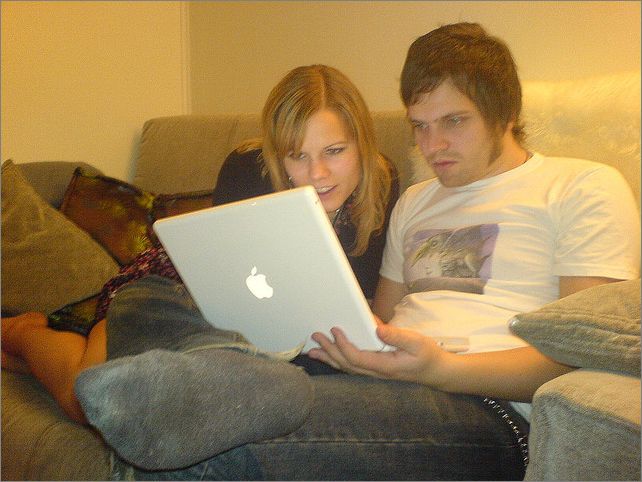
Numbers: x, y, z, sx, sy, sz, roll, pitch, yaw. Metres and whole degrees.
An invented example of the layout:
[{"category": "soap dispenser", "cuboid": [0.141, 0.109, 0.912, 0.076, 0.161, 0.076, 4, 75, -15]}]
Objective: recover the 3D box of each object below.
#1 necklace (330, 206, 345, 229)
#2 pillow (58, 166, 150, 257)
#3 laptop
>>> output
[{"category": "necklace", "cuboid": [0.059, -0.083, 1.947, 0.075, 0.070, 0.025, -23, -21, 33]}, {"category": "pillow", "cuboid": [-0.833, -0.101, 2.237, 0.311, 0.344, 0.100, -51, -12, -17]}, {"category": "laptop", "cuboid": [-0.040, 0.064, 1.471, 0.585, 0.393, 0.416, -9, 18, 40]}]
